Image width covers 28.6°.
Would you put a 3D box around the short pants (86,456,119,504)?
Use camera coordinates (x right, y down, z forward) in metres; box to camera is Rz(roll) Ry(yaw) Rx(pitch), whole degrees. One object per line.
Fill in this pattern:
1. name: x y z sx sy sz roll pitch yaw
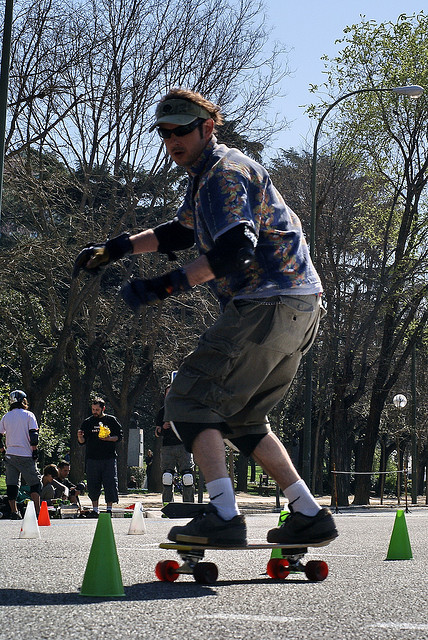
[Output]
1. short pants: -1.555 2.181 11.510 0.338 0.654 0.378 5 3 40

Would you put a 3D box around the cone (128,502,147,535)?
1. cone: -0.698 1.807 7.650 0.153 0.245 0.398 2 -8 -5

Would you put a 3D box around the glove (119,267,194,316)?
1. glove: -0.222 -0.117 3.266 0.263 0.173 0.232 2 -8 -2

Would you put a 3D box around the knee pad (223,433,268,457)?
1. knee pad: 0.127 0.534 3.595 0.155 0.072 0.107 -3 -9 18

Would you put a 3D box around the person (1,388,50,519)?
1. person: -2.675 1.897 11.752 0.588 1.815 1.040 3 -8 -11

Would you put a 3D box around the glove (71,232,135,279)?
1. glove: -0.525 -0.306 3.924 0.216 0.263 0.208 -5 -4 27

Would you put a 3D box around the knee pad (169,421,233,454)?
1. knee pad: -0.048 0.451 3.315 0.184 0.134 0.139 2 -43 -1

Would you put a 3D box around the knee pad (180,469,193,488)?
1. knee pad: -0.388 2.324 12.326 0.195 0.234 0.247 1 -4 1

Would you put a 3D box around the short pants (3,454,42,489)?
1. short pants: -2.659 2.092 11.680 0.520 0.457 0.426 5 -9 -25

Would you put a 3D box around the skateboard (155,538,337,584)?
1. skateboard: 0.123 0.943 3.256 0.630 0.146 0.307 0 -6 -8

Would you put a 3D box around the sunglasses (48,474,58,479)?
1. sunglasses: -2.803 2.739 14.641 0.115 0.027 0.116 21 -15 -8

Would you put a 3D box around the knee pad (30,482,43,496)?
1. knee pad: -2.501 2.366 11.845 0.138 0.114 0.155 13 -30 -32
